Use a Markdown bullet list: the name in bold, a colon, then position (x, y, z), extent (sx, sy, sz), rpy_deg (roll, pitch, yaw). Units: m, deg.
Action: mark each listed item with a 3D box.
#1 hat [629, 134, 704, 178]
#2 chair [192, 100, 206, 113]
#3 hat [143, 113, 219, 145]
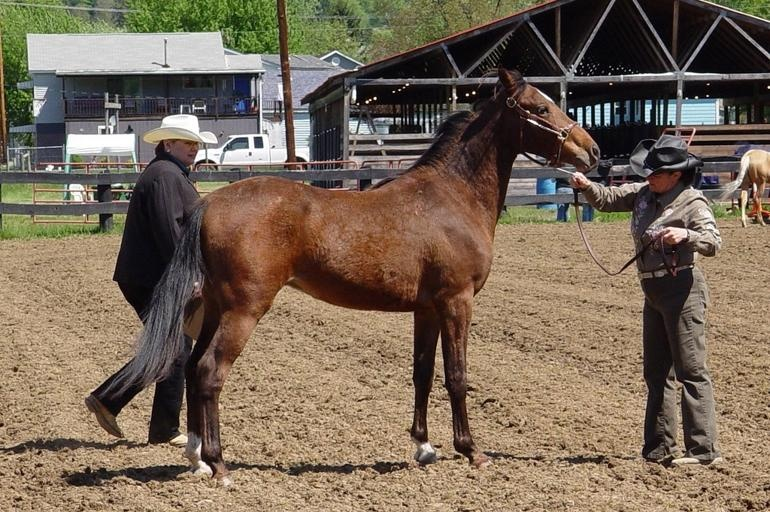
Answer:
- **hat**: position (4.358, -1.527, 18.346), extent (0.846, 0.334, 0.739), rpy_deg (-19, 44, -8)
- **chair**: position (-8.310, -6.678, 52.467), extent (0.648, 0.700, 0.652), rpy_deg (0, -2, -13)
- **hat**: position (-3.350, -1.989, 18.601), extent (0.751, 0.306, 0.703), rpy_deg (-1, 0, -2)
